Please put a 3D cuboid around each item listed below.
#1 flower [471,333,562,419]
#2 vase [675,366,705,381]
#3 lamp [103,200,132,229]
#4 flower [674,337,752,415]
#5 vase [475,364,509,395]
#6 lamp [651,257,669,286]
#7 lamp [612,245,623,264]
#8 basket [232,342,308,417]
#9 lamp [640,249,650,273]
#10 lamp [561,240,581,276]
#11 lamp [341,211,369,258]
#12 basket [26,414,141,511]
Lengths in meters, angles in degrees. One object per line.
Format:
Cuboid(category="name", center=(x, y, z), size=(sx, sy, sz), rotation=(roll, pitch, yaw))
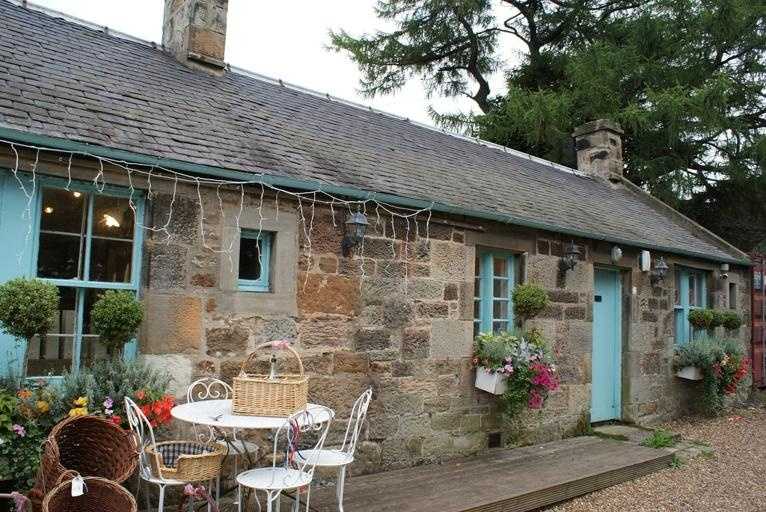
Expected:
Cuboid(category="flower", center=(1.840, 1.535, 8.300), size=(1.244, 0.878, 1.105), rotation=(11, -14, -37))
Cuboid(category="vase", center=(5.334, 2.048, 10.883), size=(0.324, 0.197, 0.316), rotation=(7, -8, -30))
Cuboid(category="lamp", center=(-2.821, -0.458, 6.719), size=(0.316, 0.183, 0.221), rotation=(-27, 31, -27))
Cuboid(category="flower", center=(5.776, 2.143, 11.038), size=(0.949, 1.311, 1.437), rotation=(3, 2, 42))
Cuboid(category="vase", center=(1.436, 1.640, 8.290), size=(0.390, 0.272, 0.366), rotation=(12, -9, -44))
Cuboid(category="lamp", center=(4.722, 0.284, 10.703), size=(0.234, 0.493, 0.401), rotation=(9, 7, 22))
Cuboid(category="lamp", center=(3.772, -0.021, 10.066), size=(0.101, 0.254, 0.263), rotation=(-9, -18, 40))
Cuboid(category="basket", center=(-1.055, 1.268, 6.398), size=(0.904, 0.876, 0.598), rotation=(1, -4, 1))
Cuboid(category="lamp", center=(4.469, 0.090, 10.572), size=(0.138, 0.374, 0.376), rotation=(12, 8, 42))
Cuboid(category="lamp", center=(2.824, 0.054, 9.423), size=(0.269, 0.493, 0.559), rotation=(8, 6, 17))
Cuboid(category="lamp", center=(-0.347, -0.253, 7.489), size=(0.280, 0.559, 0.320), rotation=(6, 6, -5))
Cuboid(category="basket", center=(-2.604, 1.774, 5.455), size=(0.852, 0.668, 0.380), rotation=(4, 7, -22))
